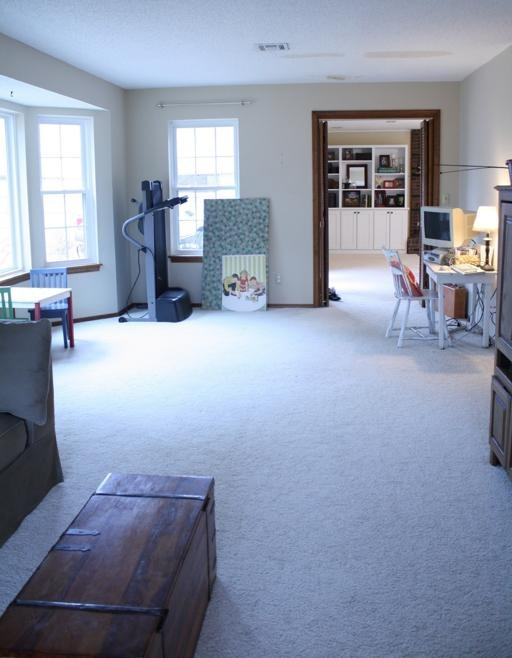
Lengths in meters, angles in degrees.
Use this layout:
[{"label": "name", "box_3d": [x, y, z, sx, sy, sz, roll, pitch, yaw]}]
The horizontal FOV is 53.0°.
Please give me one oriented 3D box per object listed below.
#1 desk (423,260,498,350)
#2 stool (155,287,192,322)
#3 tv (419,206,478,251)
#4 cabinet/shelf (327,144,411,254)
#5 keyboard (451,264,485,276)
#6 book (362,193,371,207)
[{"label": "desk", "box_3d": [2.214, -0.249, 5.516, 0.453, 0.621, 0.908, -1, 16, 3]}, {"label": "stool", "box_3d": [-1.092, -0.303, 6.747, 0.339, 0.223, 0.657, 1, 15, 7]}, {"label": "tv", "box_3d": [2.328, -1.219, 6.102, 0.586, 0.548, 0.630, -4, 17, -8]}, {"label": "cabinet/shelf", "box_3d": [2.791, -3.226, 12.809, 1.965, 2.575, 0.585, 0, 11, 3]}, {"label": "keyboard", "box_3d": [2.111, -0.599, 5.171, 0.289, 0.071, 0.352, 1, 12, 7]}, {"label": "book", "box_3d": [2.757, -3.222, 12.772, 0.229, 0.433, 0.312, 0, 8, -3]}]
